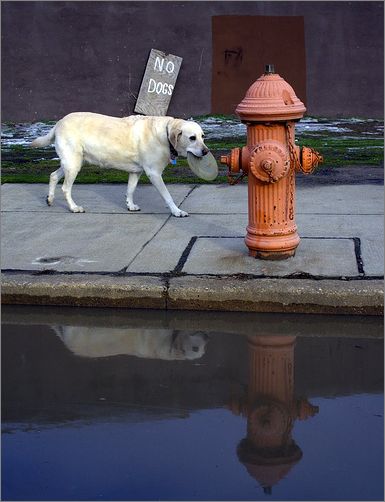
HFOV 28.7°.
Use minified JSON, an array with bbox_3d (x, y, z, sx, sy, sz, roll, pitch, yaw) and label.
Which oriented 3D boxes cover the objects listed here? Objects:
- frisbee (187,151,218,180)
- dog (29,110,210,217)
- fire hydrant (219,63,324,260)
[{"bbox_3d":[0.102,-0.723,6.427,0.061,0.207,0.267,-13,-35,35],"label":"frisbee"},{"bbox_3d":[-0.550,-0.794,6.814,1.507,0.965,0.538,1,3,23],"label":"dog"},{"bbox_3d":[0.535,-0.593,5.089,0.673,1.317,0.481,0,3,8],"label":"fire hydrant"}]
